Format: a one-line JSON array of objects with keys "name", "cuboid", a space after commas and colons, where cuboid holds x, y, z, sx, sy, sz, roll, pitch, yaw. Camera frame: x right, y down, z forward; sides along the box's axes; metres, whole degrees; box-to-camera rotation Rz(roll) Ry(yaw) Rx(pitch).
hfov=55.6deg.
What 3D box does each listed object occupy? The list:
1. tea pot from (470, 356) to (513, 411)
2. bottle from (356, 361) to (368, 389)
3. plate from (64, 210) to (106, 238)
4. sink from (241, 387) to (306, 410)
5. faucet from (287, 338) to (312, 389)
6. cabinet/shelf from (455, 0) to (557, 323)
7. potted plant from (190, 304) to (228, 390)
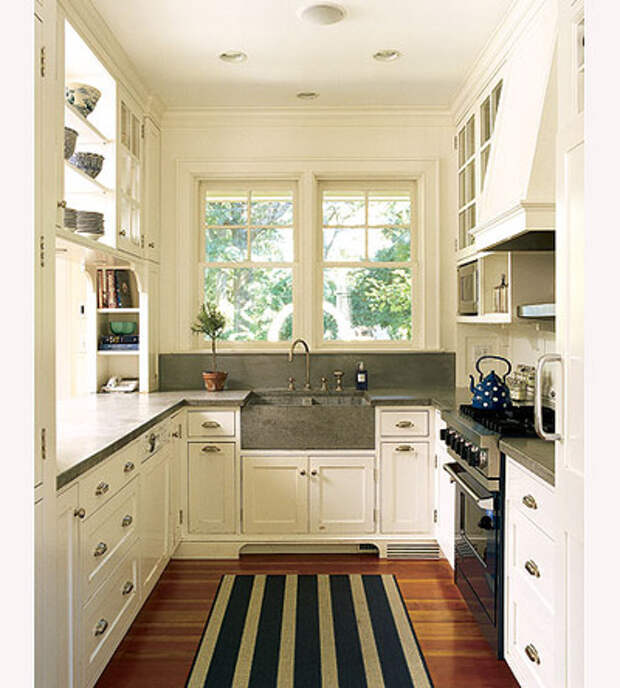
[{"name": "tea pot", "cuboid": [0.873, 0.189, 2.815, 0.265, 0.293, 0.224, -1, 2, 9]}, {"name": "bottle", "cuboid": [0.320, 0.196, 3.650, 0.071, 0.170, 0.115, 0, 0, 7]}, {"name": "plate", "cuboid": [-0.970, -0.520, 2.545, 0.114, 0.083, 0.117, 2, -1, -34]}, {"name": "sink", "cuboid": [-0.179, 0.323, 3.609, 0.368, 0.087, 0.168, 0, 0, 2]}, {"name": "faucet", "cuboid": [-0.064, 0.126, 3.650, 0.140, 0.318, 0.292, 0, 0, -2]}, {"name": "cabinet/shelf", "cuboid": [0.856, -0.809, 2.555, 0.248, 0.826, 1.308, 2, -1, 3]}, {"name": "potted plant", "cuboid": [-0.625, 0.013, 3.661, 0.221, 0.532, 0.422, 0, 0, -11]}]
